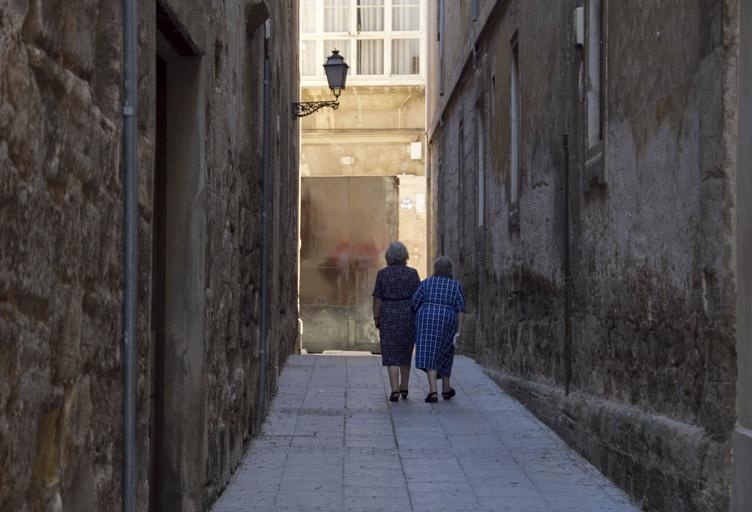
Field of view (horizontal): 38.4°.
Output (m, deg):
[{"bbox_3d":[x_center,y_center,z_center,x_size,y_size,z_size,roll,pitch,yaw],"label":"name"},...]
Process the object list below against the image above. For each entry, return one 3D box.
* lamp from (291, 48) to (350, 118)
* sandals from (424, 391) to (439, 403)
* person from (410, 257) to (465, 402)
[{"bbox_3d":[-0.706,-2.110,13.448,0.647,1.149,0.361,0,-40,0],"label":"lamp"},{"bbox_3d":[0.493,1.301,10.047,0.123,0.098,0.075,3,4,44],"label":"sandals"},{"bbox_3d":[0.582,0.688,10.252,0.474,1.316,0.583,0,3,2],"label":"person"}]
